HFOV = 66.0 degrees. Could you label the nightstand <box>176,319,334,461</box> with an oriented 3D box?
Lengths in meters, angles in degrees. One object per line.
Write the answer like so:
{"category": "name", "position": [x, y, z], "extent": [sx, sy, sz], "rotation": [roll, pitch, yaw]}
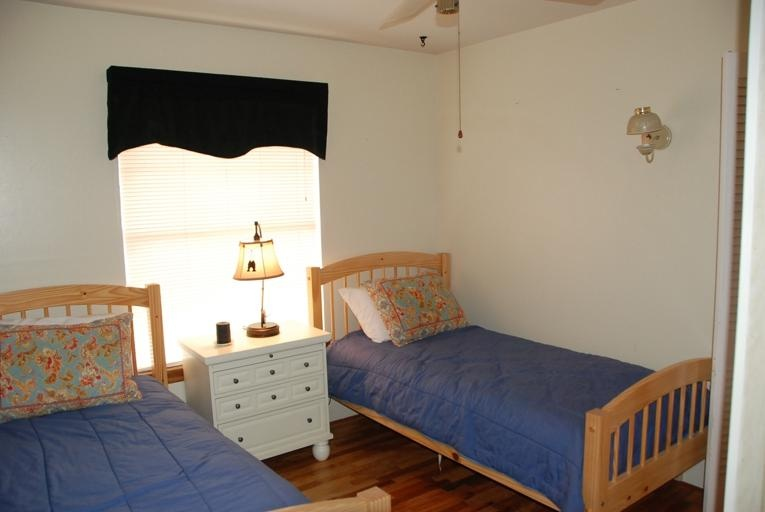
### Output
{"category": "nightstand", "position": [-0.915, 1.036, 4.250], "extent": [0.934, 0.935, 0.678], "rotation": [-6, 6, -36]}

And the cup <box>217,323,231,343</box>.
{"category": "cup", "position": [-1.088, 0.529, 4.061], "extent": [0.120, 0.127, 0.113], "rotation": [-1, -1, 0]}

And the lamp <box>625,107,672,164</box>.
{"category": "lamp", "position": [1.715, -0.779, 3.791], "extent": [0.250, 0.357, 0.259], "rotation": [-3, 6, 37]}
